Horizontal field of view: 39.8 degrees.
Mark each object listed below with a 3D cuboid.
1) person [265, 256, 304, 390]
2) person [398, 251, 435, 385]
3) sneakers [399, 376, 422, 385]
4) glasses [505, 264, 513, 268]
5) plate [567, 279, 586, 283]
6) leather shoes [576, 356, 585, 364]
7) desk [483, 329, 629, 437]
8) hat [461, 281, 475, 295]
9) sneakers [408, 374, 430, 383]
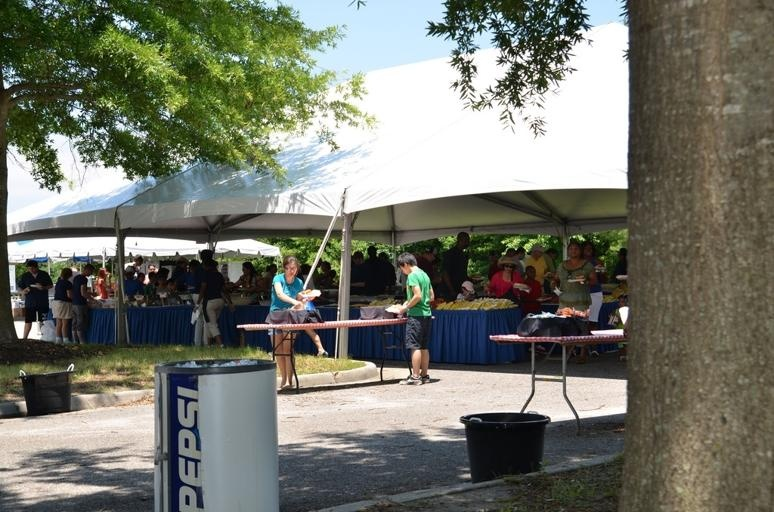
[{"bbox_3d":[-1.563,1.018,16.638,0.581,2.063,1.113,-2,-2,-5],"label":"person"},{"bbox_3d":[0.454,0.991,16.754,0.524,2.064,0.836,-2,-2,2],"label":"person"},{"bbox_3d":[0.369,1.972,16.897,0.365,0.151,0.134,0,-5,10],"label":"sneakers"},{"bbox_3d":[2.332,0.204,20.130,0.148,0.058,0.242,-5,-4,40],"label":"glasses"},{"bbox_3d":[3.227,0.436,18.193,0.267,0.087,0.328,-3,-3,8],"label":"plate"},{"bbox_3d":[3.493,1.876,19.261,0.126,0.076,0.124,1,-6,-37],"label":"leather shoes"},{"bbox_3d":[2.252,1.650,13.508,1.628,0.948,1.397,1,-2,-44],"label":"desk"},{"bbox_3d":[1.523,0.612,20.509,0.253,0.203,0.188,-4,-9,37],"label":"hat"},{"bbox_3d":[0.517,1.950,16.900,0.311,0.131,0.130,3,-8,-21],"label":"sneakers"}]
